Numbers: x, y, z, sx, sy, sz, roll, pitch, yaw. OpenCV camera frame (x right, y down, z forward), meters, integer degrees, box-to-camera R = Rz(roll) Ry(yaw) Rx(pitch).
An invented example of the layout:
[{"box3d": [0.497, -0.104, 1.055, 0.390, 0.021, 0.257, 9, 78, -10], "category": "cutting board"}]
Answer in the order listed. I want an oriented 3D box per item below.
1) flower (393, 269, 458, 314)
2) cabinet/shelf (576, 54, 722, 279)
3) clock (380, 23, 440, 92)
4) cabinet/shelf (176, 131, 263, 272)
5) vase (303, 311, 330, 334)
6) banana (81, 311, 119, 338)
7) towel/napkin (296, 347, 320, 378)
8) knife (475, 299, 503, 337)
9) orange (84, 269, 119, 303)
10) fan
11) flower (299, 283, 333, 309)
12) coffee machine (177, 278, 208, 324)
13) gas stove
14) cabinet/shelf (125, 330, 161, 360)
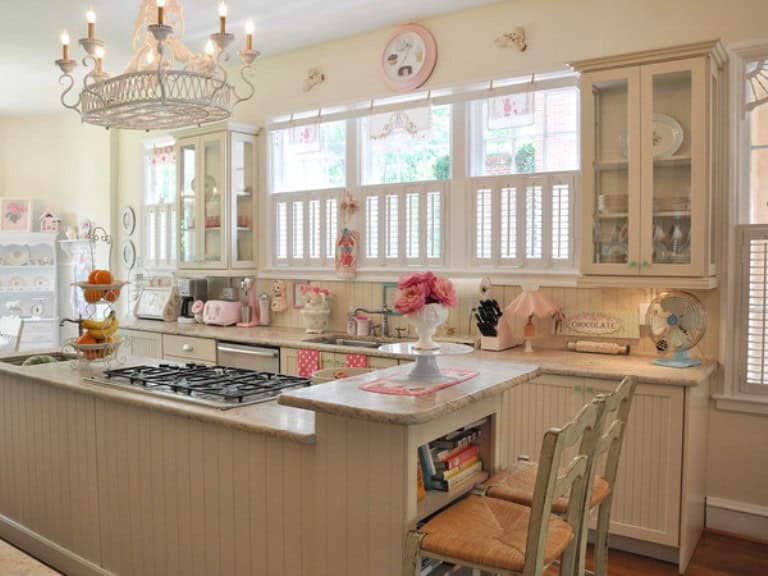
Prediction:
[{"box3d": [0.150, 0.005, 2.556, 0.237, 0.142, 0.295, -11, -22, 38], "category": "flower"}, {"box3d": [1.657, -0.714, 3.801, 0.838, 1.377, 0.395, 7, 22, 41], "category": "cabinet/shelf"}, {"box3d": [0.221, -1.797, 4.721, 0.519, 0.519, 0.057, 6, 5, 38], "category": "clock"}, {"box3d": [-1.571, -0.810, 5.607, 0.795, 1.289, 0.305, -1, 3, 17], "category": "cabinet/shelf"}, {"box3d": [-0.550, 0.285, 5.061, 0.192, 0.145, 0.191, 3, -4, -37], "category": "vase"}, {"box3d": [-1.706, 0.219, 3.646, 0.183, 0.155, 0.199, -3, 3, -27], "category": "banana"}, {"box3d": [-0.544, 0.535, 4.398, 0.208, 0.241, 0.028, 4, 7, 36], "category": "towel/napkin"}, {"box3d": [0.735, 0.204, 4.232, 0.175, 0.261, 0.183, -2, 3, 1], "category": "knife"}, {"box3d": [-1.655, -0.020, 3.557, 0.190, 0.150, 0.191, 7, 6, 36], "category": "orange"}, {"box3d": [1.792, 0.244, 3.712, 0.251, 0.454, 0.328, 1, 2, -40], "category": "fan"}, {"box3d": [-0.567, 0.064, 5.156, 0.246, 0.208, 0.334, -2, 3, -5], "category": "flower"}, {"box3d": [-1.844, 0.098, 5.890, 0.286, 0.389, 0.270, -3, 3, -18], "category": "coffee machine"}, {"box3d": [-0.965, 0.490, 3.193, 1.080, 0.096, 0.616, 0, 3, 34], "category": "gas stove"}, {"box3d": [-2.081, 0.490, 5.286, 0.279, 0.259, 0.098, 2, 4, 32], "category": "cabinet/shelf"}]
